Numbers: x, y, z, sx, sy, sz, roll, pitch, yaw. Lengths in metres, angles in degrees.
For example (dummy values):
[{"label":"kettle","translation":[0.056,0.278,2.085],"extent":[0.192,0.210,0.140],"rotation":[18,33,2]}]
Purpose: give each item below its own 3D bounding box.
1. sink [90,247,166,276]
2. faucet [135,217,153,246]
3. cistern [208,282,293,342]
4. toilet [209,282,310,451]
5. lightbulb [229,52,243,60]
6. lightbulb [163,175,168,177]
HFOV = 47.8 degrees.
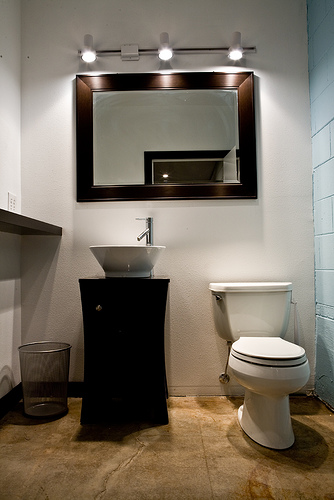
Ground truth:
[{"label":"sink","translation":[-0.175,0.056,1.686],"extent":[0.321,0.090,0.178],"rotation":[0,0,-1]},{"label":"faucet","translation":[-0.109,-0.096,1.862],"extent":[0.095,0.154,0.386],"rotation":[0,0,-4]},{"label":"cistern","translation":[0.403,0.265,1.769],"extent":[0.302,0.214,0.275],"rotation":[0,-2,-5]},{"label":"toilet","translation":[0.425,0.464,1.641],"extent":[0.334,0.597,0.598],"rotation":[0,-1,-5]},{"label":"lightbulb","translation":[0.361,-1.030,2.001],"extent":[0.066,0.024,0.053],"rotation":[0,0,16]},{"label":"lightbulb","translation":[-0.008,-0.405,2.066],"extent":[0.015,0.011,0.004],"rotation":[1,5,3]}]
